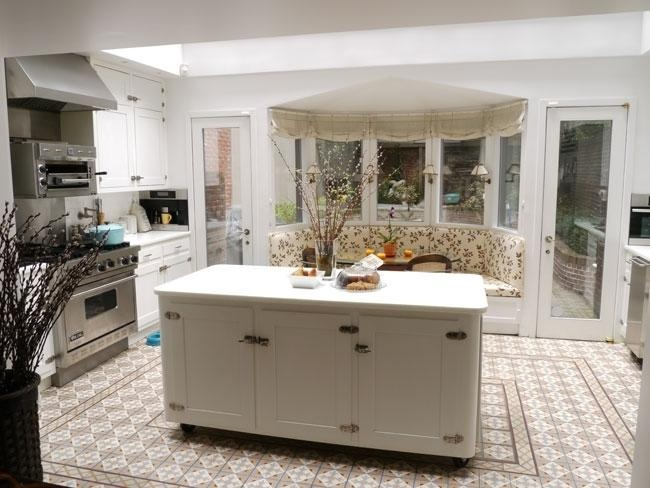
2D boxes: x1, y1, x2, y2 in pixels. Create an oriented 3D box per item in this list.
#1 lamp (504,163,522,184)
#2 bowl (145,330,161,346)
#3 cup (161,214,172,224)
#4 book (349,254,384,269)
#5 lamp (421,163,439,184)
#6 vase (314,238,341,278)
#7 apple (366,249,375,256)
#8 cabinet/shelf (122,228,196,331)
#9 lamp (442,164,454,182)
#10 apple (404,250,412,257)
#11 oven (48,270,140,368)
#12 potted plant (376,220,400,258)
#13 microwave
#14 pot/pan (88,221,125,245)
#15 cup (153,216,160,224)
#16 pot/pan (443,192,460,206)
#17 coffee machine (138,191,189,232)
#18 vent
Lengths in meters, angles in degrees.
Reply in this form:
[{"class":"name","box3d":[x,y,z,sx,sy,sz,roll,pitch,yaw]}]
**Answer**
[{"class":"lamp","box3d":[2.274,-0.869,5.772,0.226,0.226,0.202,0,3,7]},{"class":"bowl","box3d":[-1.894,1.049,5.285,0.156,0.075,0.203,2,-1,10]},{"class":"cup","box3d":[-2.044,-0.337,6.135,0.156,0.149,0.098,1,1,-13]},{"class":"book","box3d":[0.341,0.131,3.522,0.140,0.056,0.186,6,11,40]},{"class":"lamp","box3d":[1.389,-0.940,6.299,0.247,0.341,0.235,0,-2,25]},{"class":"vase","box3d":[0.015,0.123,3.739,0.208,0.320,0.204,-4,5,-33]},{"class":"apple","box3d":[0.413,0.072,4.360,0.075,0.069,0.074,-6,13,-9]},{"class":"cabinet/shelf","box3d":[-2.124,0.467,5.624,0.662,1.062,1.198,1,9,14]},{"class":"lamp","box3d":[1.631,-0.965,6.390,0.193,0.247,0.186,0,-1,18]},{"class":"apple","box3d":[1.062,0.113,6.114,0.078,0.053,0.078,3,3,5]},{"class":"oven","box3d":[-2.212,0.723,4.688,0.643,0.875,0.968,1,6,12]},{"class":"potted plant","box3d":[0.854,-0.054,6.328,0.433,0.467,0.390,-1,2,-1]},{"class":"microwave","box3d":[-2.562,-0.698,4.601,0.486,0.454,0.638,5,10,26]},{"class":"pot/pan","box3d":[-2.191,-0.111,4.748,0.285,0.206,0.293,-3,3,-30]},{"class":"cup","box3d":[-2.179,-0.324,6.172,0.106,0.105,0.063,2,3,5]},{"class":"pot/pan","box3d":[1.698,-0.622,6.392,0.257,0.142,0.182,1,1,21]},{"class":"coffee machine","box3d":[-2.036,-0.459,6.233,0.653,0.532,0.234,0,13,10]},{"class":"vent","box3d":[-2.501,-1.351,4.486,0.536,0.505,1.048,-5,4,21]}]
